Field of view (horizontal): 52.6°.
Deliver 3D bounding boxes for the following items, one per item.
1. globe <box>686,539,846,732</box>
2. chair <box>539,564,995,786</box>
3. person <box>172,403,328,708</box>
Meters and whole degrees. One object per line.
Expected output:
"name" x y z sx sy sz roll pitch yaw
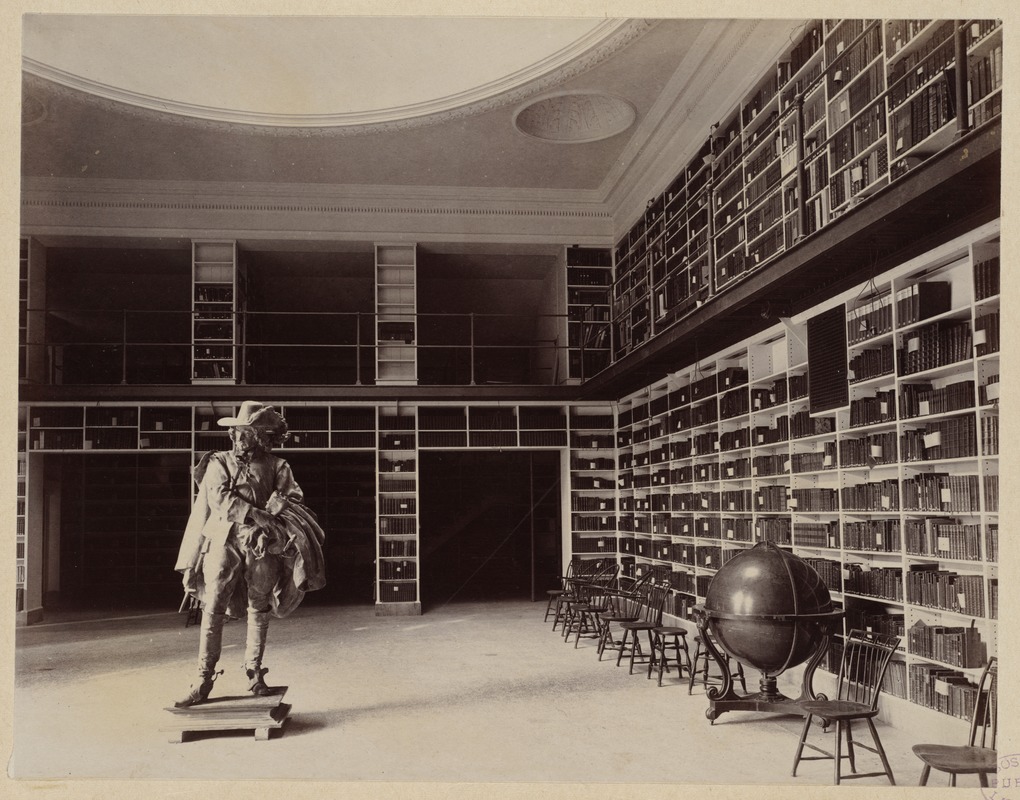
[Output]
"globe" 1.784 1.599 7.531 0.996 1.311 1.113 3 -3 -4
"chair" 1.944 1.854 7.301 1.745 1.283 2.723 5 -3 -16
"person" -1.907 1.107 7.628 1.032 2.176 0.448 2 -6 -17
